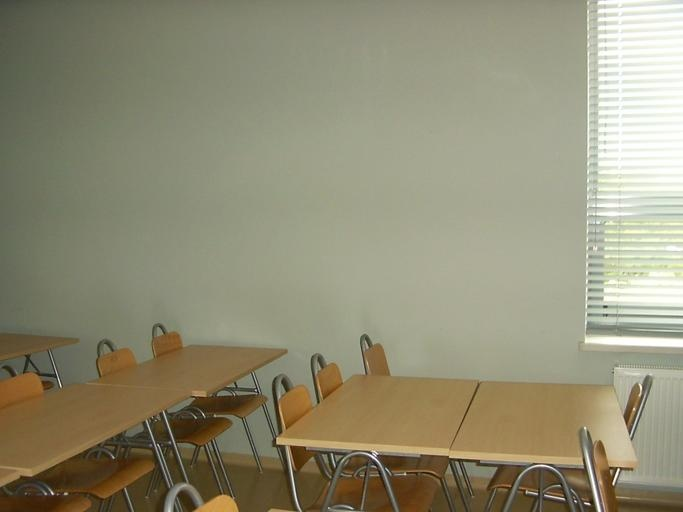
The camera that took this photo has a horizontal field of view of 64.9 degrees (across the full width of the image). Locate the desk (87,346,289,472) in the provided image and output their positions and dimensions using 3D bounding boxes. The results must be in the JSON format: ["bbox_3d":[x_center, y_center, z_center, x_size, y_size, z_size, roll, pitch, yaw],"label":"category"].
[{"bbox_3d":[-0.955,0.705,3.447,0.772,0.753,1.013,0,4,22],"label":"desk"}]

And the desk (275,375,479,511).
[{"bbox_3d":[0.190,0.758,2.525,0.638,0.465,0.906,0,5,15],"label":"desk"}]
